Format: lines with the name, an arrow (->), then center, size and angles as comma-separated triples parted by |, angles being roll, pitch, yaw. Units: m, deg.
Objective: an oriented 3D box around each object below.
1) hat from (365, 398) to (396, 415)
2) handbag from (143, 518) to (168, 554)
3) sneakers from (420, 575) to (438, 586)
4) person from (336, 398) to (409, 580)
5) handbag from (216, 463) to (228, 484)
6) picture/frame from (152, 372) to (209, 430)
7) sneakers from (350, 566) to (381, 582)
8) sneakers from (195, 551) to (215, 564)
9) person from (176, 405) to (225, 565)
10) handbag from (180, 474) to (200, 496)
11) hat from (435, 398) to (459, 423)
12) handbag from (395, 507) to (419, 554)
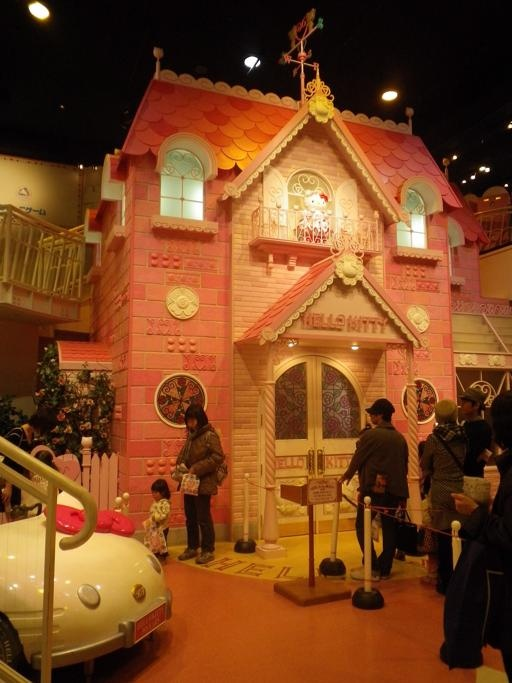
hat -> 1.335, 0.696, 6.523 | 0.185, 0.146, 0.252 | 5, -1, -39
handbag -> -1.149, 2.226, 6.849 | 0.250, 0.403, 0.144 | 2, -8, -12
sneakers -> 1.758, 2.458, 6.167 | 0.097, 0.040, 0.118 | 5, -10, -13
person -> 1.236, 1.539, 6.242 | 0.646, 1.865, 0.660 | -1, -8, 12
handbag -> -0.355, 1.571, 7.074 | 0.105, 0.274, 0.206 | 10, -9, -37
picture/frame -> -1.019, 0.807, 8.141 | 0.784, 0.717, 0.043 | 6, -12, -37
sneakers -> 1.129, 2.394, 6.168 | 0.263, 0.113, 0.115 | 5, -1, 4
sneakers -> -0.585, 2.500, 6.893 | 0.090, 0.099, 0.242 | -6, -21, 16
person -> -0.685, 1.653, 7.092 | 0.545, 1.810, 0.665 | 3, -8, -22
handbag -> -0.756, 1.654, 6.889 | 0.220, 0.249, 0.127 | 1, -7, -7
hat -> 1.883, 0.685, 5.982 | 0.199, 0.220, 0.260 | 2, 10, 15
handbag -> 1.673, 2.190, 6.923 | 0.353, 0.456, 0.158 | 10, -22, -10
